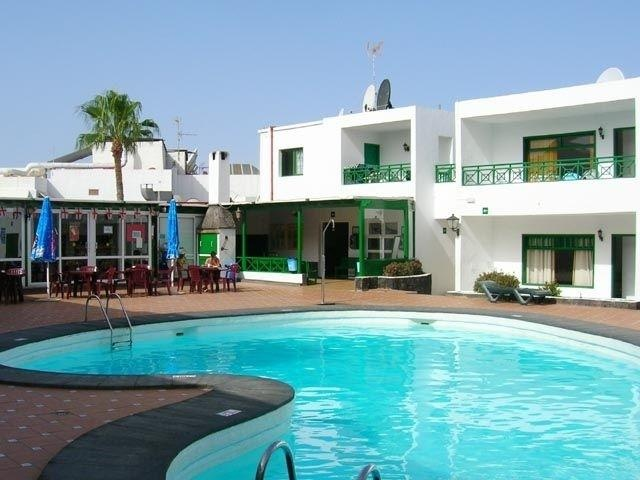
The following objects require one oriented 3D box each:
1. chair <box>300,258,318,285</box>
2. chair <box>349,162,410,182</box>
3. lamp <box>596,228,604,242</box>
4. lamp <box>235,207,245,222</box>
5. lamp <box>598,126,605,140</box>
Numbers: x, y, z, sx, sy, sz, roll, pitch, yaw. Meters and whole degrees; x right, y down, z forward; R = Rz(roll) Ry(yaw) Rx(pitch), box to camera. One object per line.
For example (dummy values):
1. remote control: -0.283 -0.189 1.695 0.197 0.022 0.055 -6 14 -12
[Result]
1. chair: -0.439 1.275 26.960 0.778 1.178 0.829 0 2 -3
2. chair: 2.560 -2.801 27.750 2.953 0.998 1.573 8 7 40
3. lamp: 9.747 -0.204 22.792 0.244 0.454 0.094 5 5 24
4. lamp: -3.450 -1.137 27.946 0.534 0.814 0.560 1 1 4
5. lamp: 9.833 -3.768 22.924 0.225 0.418 0.077 5 5 24
